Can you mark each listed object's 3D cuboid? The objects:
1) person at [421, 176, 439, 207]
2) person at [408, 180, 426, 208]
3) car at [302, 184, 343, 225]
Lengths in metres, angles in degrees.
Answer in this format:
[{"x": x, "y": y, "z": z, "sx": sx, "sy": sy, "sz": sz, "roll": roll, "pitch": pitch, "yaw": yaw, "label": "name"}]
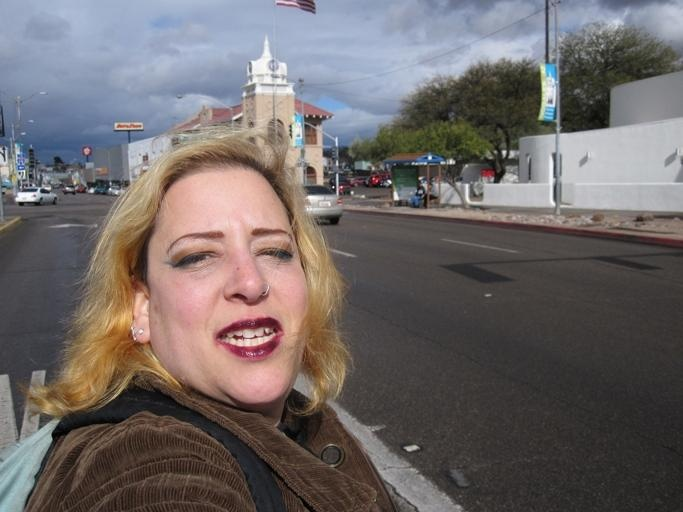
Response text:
[{"x": 5.536, "y": -3.968, "z": 34.284, "sx": 0.732, "sy": 1.149, "sz": 2.821, "roll": 3, "pitch": 35, "yaw": 4, "label": "person"}, {"x": 4.802, "y": -3.800, "z": 33.849, "sx": 0.754, "sy": 1.477, "sz": 1.776, "roll": -2, "pitch": 11, "yaw": 10, "label": "person"}, {"x": -0.581, "y": -1.999, "z": 22.065, "sx": 1.022, "sy": 1.040, "sz": 2.673, "roll": 0, "pitch": 10, "yaw": -9, "label": "car"}]
